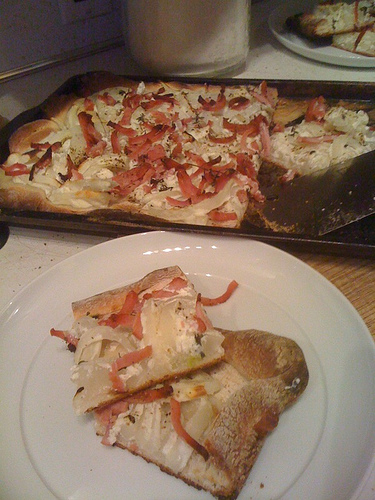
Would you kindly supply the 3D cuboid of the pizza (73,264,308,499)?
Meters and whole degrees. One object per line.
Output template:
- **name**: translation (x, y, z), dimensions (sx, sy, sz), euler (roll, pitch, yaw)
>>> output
- **pizza**: translation (-0.043, 0.244, 0.963), dimensions (0.570, 0.148, 0.414), euler (34, 57, 26)

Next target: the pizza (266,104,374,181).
- **pizza**: translation (0.504, -0.348, 1.577), dimensions (0.386, 0.112, 0.242), euler (-31, 44, -6)

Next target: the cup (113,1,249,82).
- **cup**: translation (-0.009, -0.938, 2.074), dimensions (0.496, 0.492, 0.465), euler (-1, 35, 0)
